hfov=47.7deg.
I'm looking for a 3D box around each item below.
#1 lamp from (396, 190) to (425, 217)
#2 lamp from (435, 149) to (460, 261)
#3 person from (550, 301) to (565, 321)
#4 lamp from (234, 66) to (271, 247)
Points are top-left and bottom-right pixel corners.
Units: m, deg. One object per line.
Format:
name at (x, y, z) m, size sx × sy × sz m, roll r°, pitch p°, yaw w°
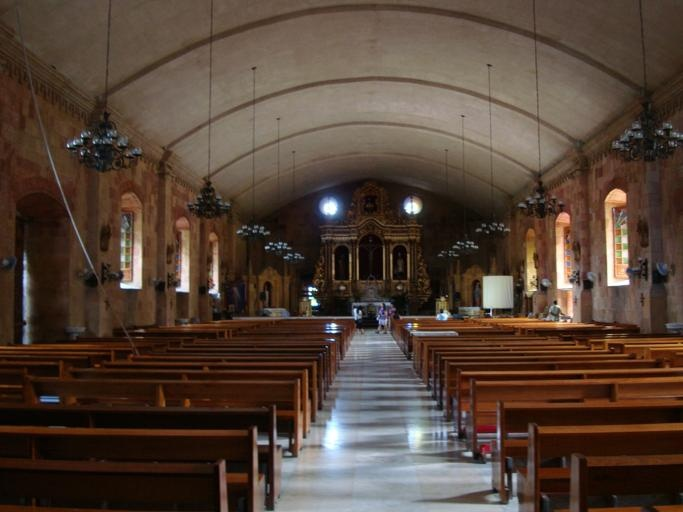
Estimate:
lamp at (3.779, -2.635, 40.658) m, size 1.130 × 1.241 × 0.494 m, roll 1°, pitch -7°, yaw 3°
lamp at (5.087, -2.479, 35.454) m, size 1.066 × 5.033 × 1.097 m, roll -5°, pitch -5°, yaw -22°
person at (7.121, 1.932, 25.397) m, size 0.798 × 0.481 × 0.342 m, roll 29°, pitch -33°, yaw -36°
lamp at (-3.079, -3.011, 27.015) m, size 1.024 × 4.831 × 1.161 m, roll -2°, pitch 8°, yaw -14°
